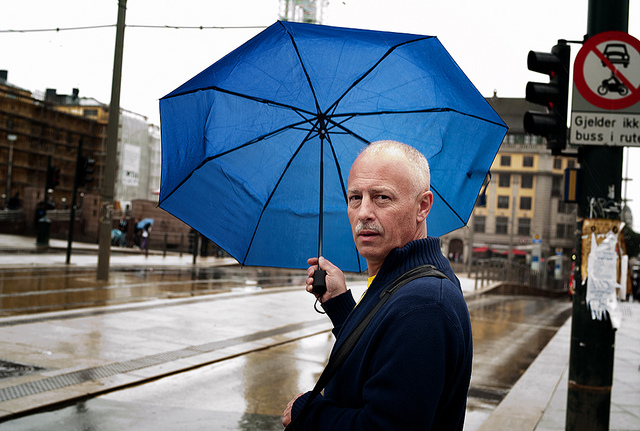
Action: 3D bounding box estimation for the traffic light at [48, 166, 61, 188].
[{"bbox_3d":[-7.889,-1.127,17.957,0.200,0.618,0.475,4,0,11],"label":"traffic light"}]

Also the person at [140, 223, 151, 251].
[{"bbox_3d":[-9.851,1.149,34.173,0.468,1.674,0.858,2,26,-26],"label":"person"}]

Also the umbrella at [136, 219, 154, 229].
[{"bbox_3d":[-9.973,0.488,34.498,0.865,0.543,0.352,5,0,23],"label":"umbrella"}]

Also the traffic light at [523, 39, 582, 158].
[{"bbox_3d":[2.795,-1.454,7.412,0.495,1.440,0.250,4,0,13],"label":"traffic light"}]

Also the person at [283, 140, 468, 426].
[{"bbox_3d":[0.519,0.548,4.697,1.281,2.184,0.686,4,0,26],"label":"person"}]

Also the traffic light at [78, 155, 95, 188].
[{"bbox_3d":[-7.278,-1.365,18.916,0.429,0.934,0.608,4,0,-22],"label":"traffic light"}]
